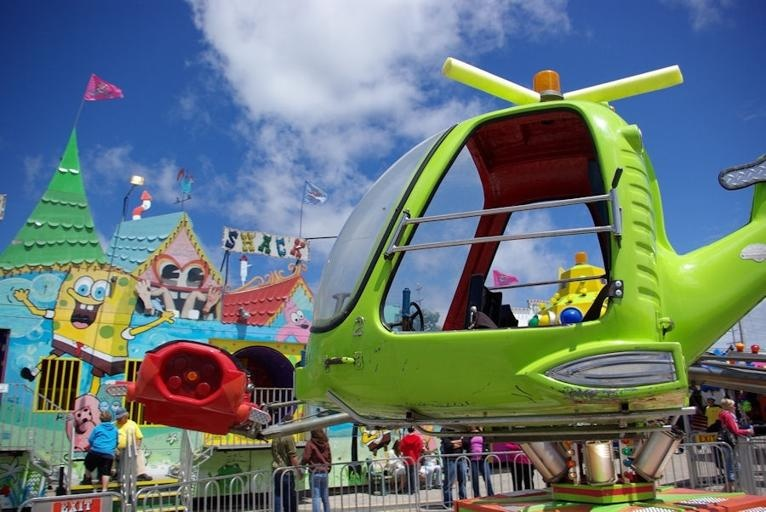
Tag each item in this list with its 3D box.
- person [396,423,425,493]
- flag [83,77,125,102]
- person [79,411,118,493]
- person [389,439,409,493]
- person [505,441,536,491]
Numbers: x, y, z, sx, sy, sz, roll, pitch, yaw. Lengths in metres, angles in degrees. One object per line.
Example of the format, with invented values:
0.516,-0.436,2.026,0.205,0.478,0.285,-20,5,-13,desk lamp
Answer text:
0.668,4.931,15.151,0.570,1.437,0.583,-2,-11,4,person
-9.149,-5.491,20.257,1.014,0.888,0.808,5,-26,-19,flag
-6.086,4.096,13.425,0.614,1.741,1.014,7,-27,-22,person
0.379,4.667,14.049,0.542,1.052,0.395,-7,-8,43,person
3.165,4.899,14.511,0.475,0.826,1.337,-2,-14,8,person
